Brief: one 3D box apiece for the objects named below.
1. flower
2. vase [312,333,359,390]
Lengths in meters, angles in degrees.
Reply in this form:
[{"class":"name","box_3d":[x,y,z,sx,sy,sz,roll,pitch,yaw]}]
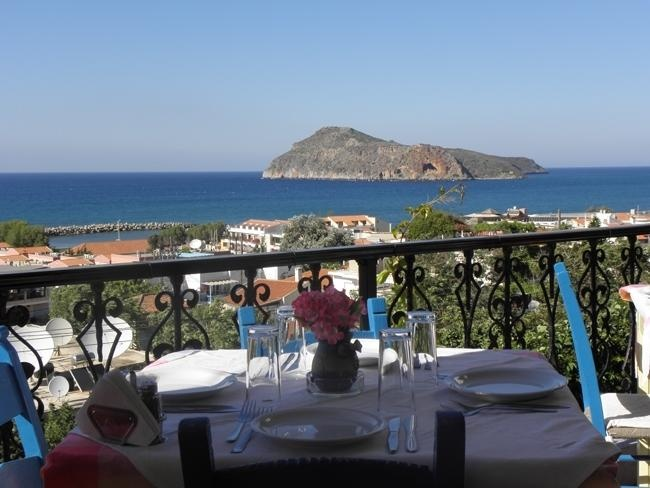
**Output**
[{"class":"flower","box_3d":[0.008,0.154,1.369,0.138,0.097,0.137,1,5,-8]},{"class":"vase","box_3d":[0.029,0.313,1.488,0.130,0.149,0.129,-1,-2,-39]}]
